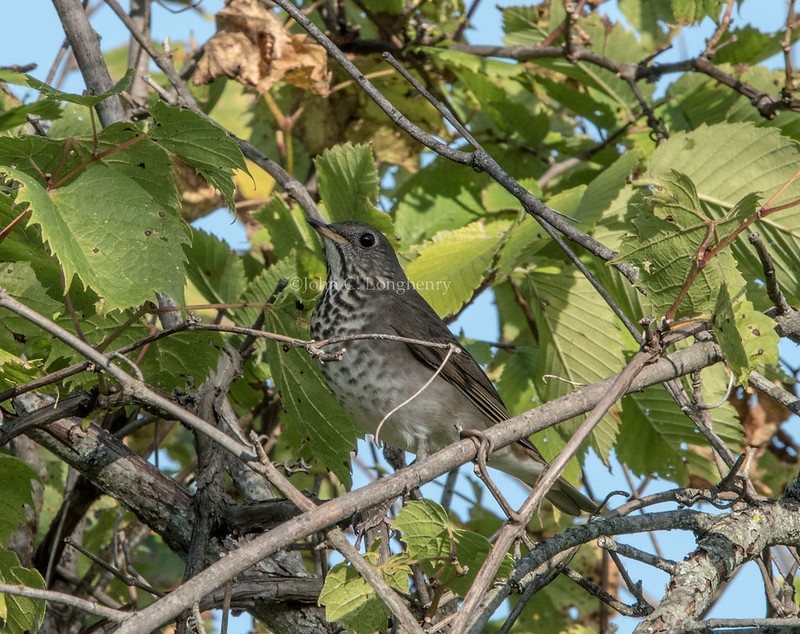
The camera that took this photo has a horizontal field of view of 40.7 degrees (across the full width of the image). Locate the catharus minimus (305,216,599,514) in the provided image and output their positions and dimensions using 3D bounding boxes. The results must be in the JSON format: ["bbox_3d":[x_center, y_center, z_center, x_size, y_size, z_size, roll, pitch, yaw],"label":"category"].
[{"bbox_3d":[0.206,0.297,5.451,1.837,1.178,0.563,21,-21,-31],"label":"catharus minimus"}]
